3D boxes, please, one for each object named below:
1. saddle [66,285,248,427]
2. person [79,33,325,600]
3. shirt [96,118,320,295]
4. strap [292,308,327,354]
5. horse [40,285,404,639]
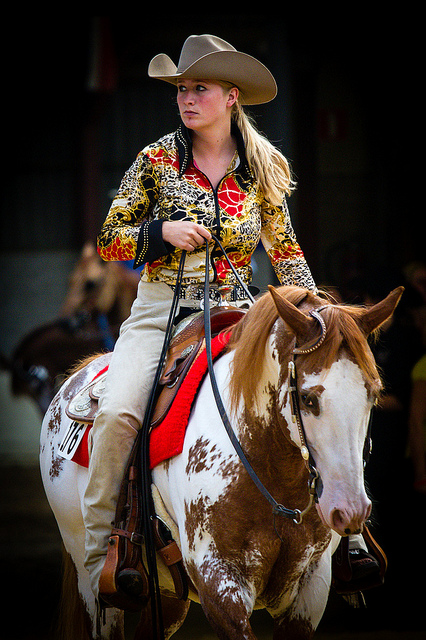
[{"bbox_3d":[-0.253,0.131,5.170,0.840,0.600,0.731,-17,19,-38],"label":"saddle"},{"bbox_3d":[-0.031,-0.033,5.082,1.074,2.338,0.820,4,3,0],"label":"person"},{"bbox_3d":[-0.014,-0.499,5.163,1.037,0.736,0.437,1,14,-22],"label":"shirt"},{"bbox_3d":[0.370,0.043,4.310,0.040,0.140,0.155,17,-31,-22],"label":"strap"},{"bbox_3d":[0.022,0.705,4.792,0.688,1.706,1.585,-3,6,-35],"label":"horse"}]
